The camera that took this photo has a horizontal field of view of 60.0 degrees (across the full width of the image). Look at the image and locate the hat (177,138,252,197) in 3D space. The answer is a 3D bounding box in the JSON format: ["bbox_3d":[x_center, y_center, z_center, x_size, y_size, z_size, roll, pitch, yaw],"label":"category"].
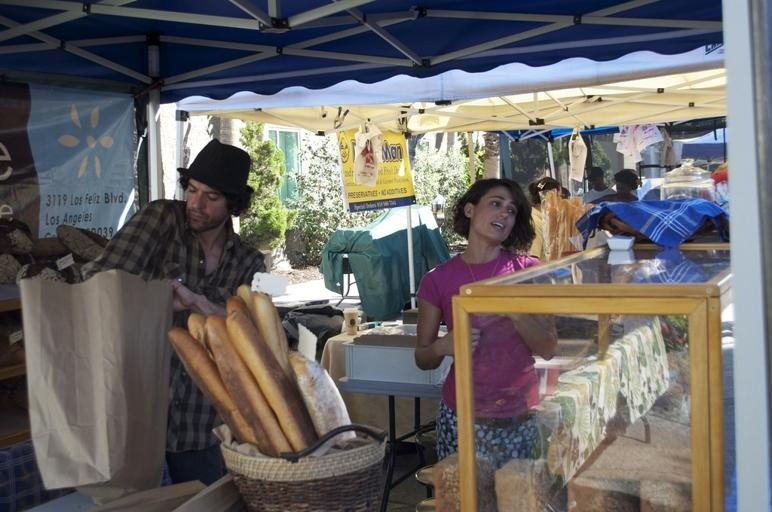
[{"bbox_3d":[-0.782,-0.406,3.233,0.267,0.173,0.313,25,-3,36],"label":"hat"}]

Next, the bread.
[{"bbox_3d":[-0.399,0.383,2.054,0.372,0.613,0.196,-28,-7,-9],"label":"bread"}]

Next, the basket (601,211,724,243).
[{"bbox_3d":[1.168,-0.126,2.850,0.517,0.127,0.257,0,6,26],"label":"basket"}]

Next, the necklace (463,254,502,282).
[{"bbox_3d":[0.468,0.060,3.258,0.125,0.123,0.031,0,-7,-2],"label":"necklace"}]

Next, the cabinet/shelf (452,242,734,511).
[{"bbox_3d":[0.646,0.351,2.011,0.708,0.635,0.742,0,6,23],"label":"cabinet/shelf"}]
